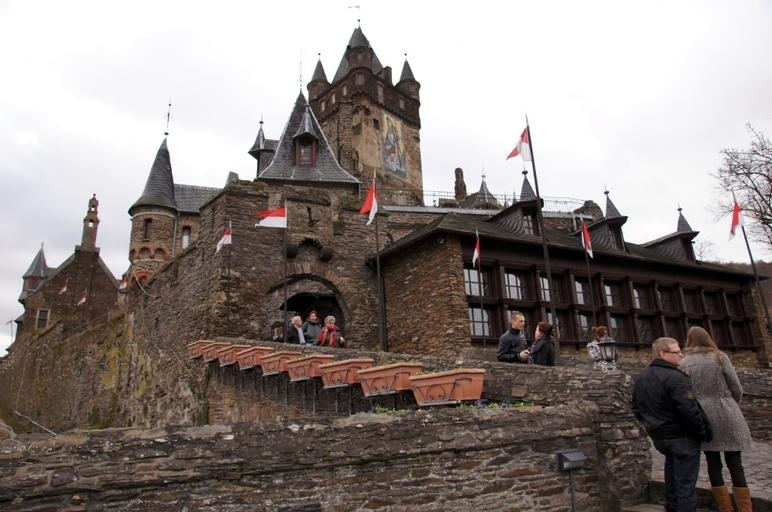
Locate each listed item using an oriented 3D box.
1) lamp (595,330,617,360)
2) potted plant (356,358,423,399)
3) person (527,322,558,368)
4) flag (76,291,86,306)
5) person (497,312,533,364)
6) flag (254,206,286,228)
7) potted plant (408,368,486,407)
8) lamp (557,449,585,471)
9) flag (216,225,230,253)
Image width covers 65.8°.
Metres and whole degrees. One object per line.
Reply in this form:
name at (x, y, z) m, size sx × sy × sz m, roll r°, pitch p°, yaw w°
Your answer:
lamp at (4.701, 1.928, 12.777) m, size 0.373 × 0.771 × 1.059 m, roll 0°, pitch 0°, yaw 19°
potted plant at (-0.022, 2.280, 10.944) m, size 0.727 × 0.393 × 1.011 m, roll 13°, pitch -26°, yaw -39°
person at (2.919, 1.684, 11.279) m, size 0.464 × 0.805 × 0.862 m, roll 0°, pitch 0°, yaw 12°
flag at (-25.644, 3.626, 50.266) m, size 1.317 × 1.206 × 0.120 m, roll -4°, pitch 0°, yaw 43°
person at (2.543, 1.611, 11.725) m, size 0.651 × 0.966 × 0.875 m, roll 6°, pitch 12°, yaw 37°
flag at (-3.939, -1.295, 20.236) m, size 1.217 × 1.011 × 0.150 m, roll 3°, pitch -54°, yaw 4°
potted plant at (1.015, 2.252, 10.145) m, size 0.717 × 0.431 × 1.083 m, roll 15°, pitch -27°, yaw -40°
lamp at (2.893, 3.237, 9.397) m, size 0.449 × 0.324 × 0.212 m, roll 0°, pitch 0°, yaw -32°
flag at (-5.541, -0.540, 20.329) m, size 0.141 × 1.088 × 0.874 m, roll 10°, pitch -14°, yaw -35°
